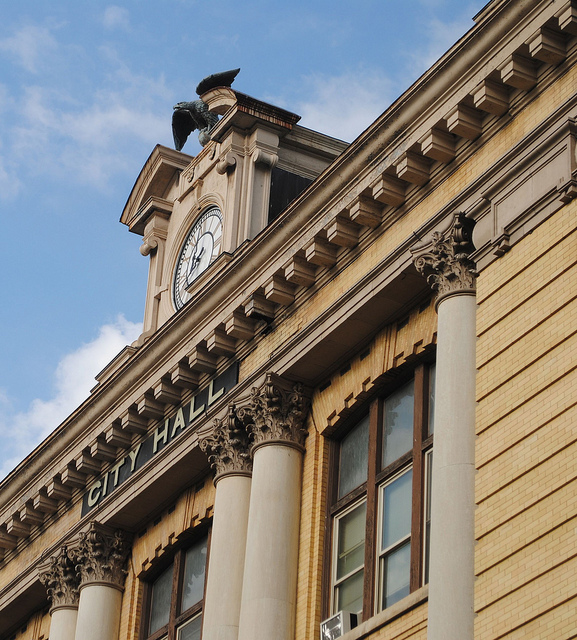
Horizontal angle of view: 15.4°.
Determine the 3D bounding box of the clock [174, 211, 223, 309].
[{"bbox_3d":[-1.578,-1.008,37.830,0.117,1.466,1.414,20,-34,-17],"label":"clock"}]
